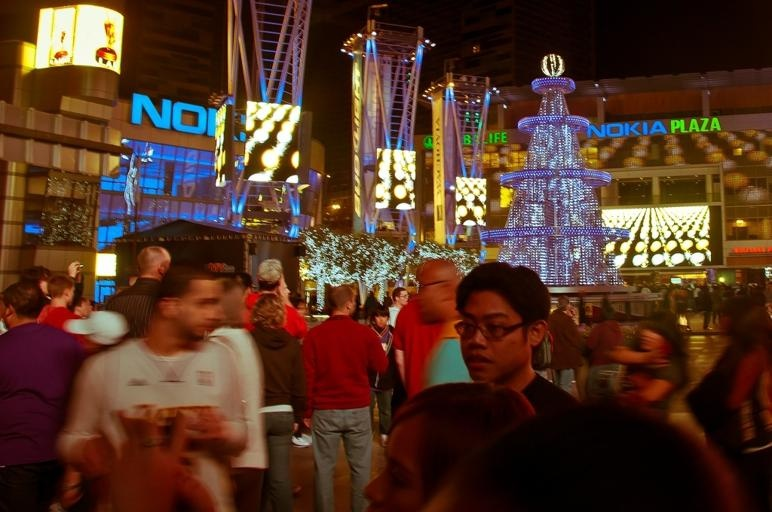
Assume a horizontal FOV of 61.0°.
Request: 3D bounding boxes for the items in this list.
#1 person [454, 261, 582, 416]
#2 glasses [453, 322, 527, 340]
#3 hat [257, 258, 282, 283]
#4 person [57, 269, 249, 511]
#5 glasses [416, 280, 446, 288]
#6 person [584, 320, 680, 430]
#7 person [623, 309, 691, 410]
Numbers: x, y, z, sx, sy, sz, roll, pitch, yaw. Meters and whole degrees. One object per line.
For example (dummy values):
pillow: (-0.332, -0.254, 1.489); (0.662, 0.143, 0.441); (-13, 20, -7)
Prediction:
person: (0.662, 0.491, 3.526); (0.694, 0.905, 0.572); (-3, -6, 31)
glasses: (0.539, 0.381, 3.354); (0.316, 0.085, 0.066); (0, -2, 17)
hat: (-1.298, 0.170, 7.332); (0.252, 0.255, 0.396); (1, -2, -10)
person: (-1.351, 0.781, 3.887); (1.007, 1.431, 0.469); (2, -2, -23)
glasses: (0.333, 0.220, 4.968); (0.243, 0.071, 0.122); (-1, -3, 42)
person: (2.432, 1.145, 6.494); (0.790, 0.629, 1.744); (-7, -34, 7)
person: (2.399, 0.953, 5.879); (0.528, 0.764, 1.108); (0, -2, 26)
